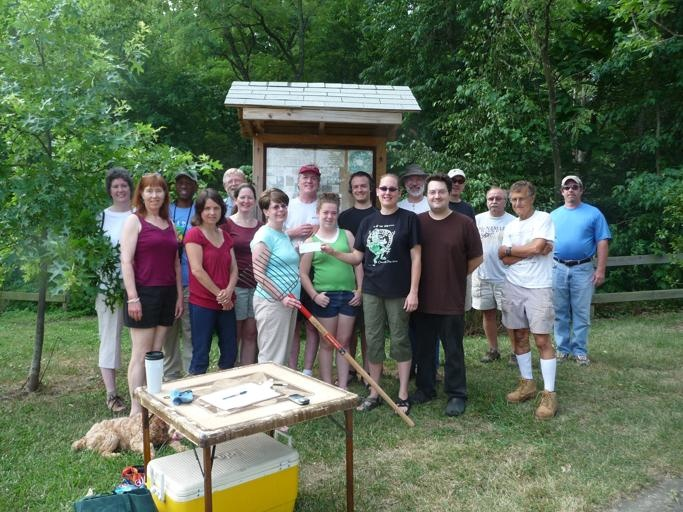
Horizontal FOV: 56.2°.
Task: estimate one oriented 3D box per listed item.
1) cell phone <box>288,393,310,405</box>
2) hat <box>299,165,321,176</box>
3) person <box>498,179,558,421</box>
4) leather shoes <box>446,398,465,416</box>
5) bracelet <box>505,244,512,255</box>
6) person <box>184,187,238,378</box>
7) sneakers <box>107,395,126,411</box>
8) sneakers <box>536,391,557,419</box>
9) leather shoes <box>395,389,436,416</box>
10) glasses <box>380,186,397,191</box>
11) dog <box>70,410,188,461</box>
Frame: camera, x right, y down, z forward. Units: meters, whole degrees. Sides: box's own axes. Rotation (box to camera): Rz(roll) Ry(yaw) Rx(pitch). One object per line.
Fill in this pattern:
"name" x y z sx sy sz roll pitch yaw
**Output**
"cell phone" -0.384 1.320 5.874 0.145 0.029 0.235 -13 19 -39
"hat" -0.436 -1.133 8.538 0.240 0.167 0.337 4 -2 -7
"person" 2.316 0.481 7.750 0.635 2.659 1.219 -3 15 -8
"leather shoes" 1.370 1.832 7.711 0.132 0.106 0.265 0 14 13
"bracelet" 2.036 -0.063 7.823 0.063 0.102 0.091 4 12 13
"person" -1.520 0.287 7.470 0.613 2.056 0.717 -4 15 -10
"sneakers" -2.760 1.822 7.840 0.124 0.139 0.314 2 -7 -43
"sneakers" 2.429 1.736 7.572 0.236 0.270 0.403 5 15 21
"leather shoes" 0.920 1.818 7.952 0.536 0.231 0.194 4 -12 -36
"glasses" 0.555 -0.813 7.689 0.192 0.068 0.043 1 14 6
"dog" -2.354 1.981 7.079 1.142 0.527 0.422 2 -8 -8
